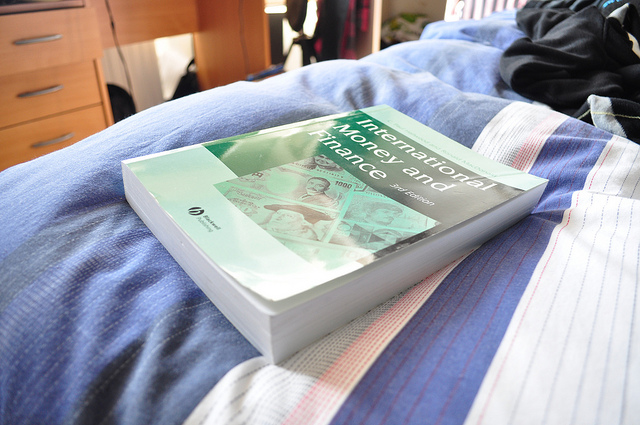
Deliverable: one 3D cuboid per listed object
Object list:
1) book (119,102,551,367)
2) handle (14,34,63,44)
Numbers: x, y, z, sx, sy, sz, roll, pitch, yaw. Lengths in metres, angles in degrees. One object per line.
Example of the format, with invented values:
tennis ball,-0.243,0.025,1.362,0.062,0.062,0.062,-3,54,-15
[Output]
book,0.025,-0.018,0.467,0.382,0.082,0.269,-17,41,-30
handle,-0.863,-0.528,1.341,0.094,0.010,0.018,-22,68,-46
